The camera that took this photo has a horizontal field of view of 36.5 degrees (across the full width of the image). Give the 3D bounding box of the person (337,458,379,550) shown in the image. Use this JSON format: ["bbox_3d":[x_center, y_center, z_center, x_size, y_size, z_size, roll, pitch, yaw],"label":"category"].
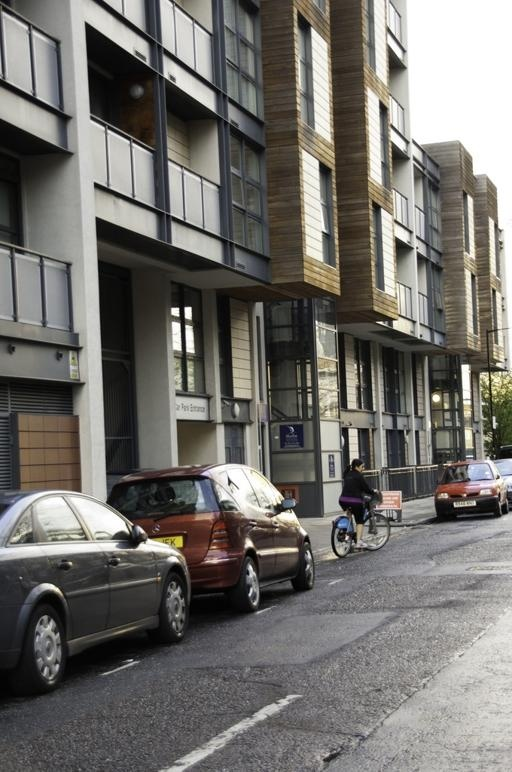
[{"bbox_3d":[2.147,2.490,16.288,0.755,1.905,1.020,-5,-6,6],"label":"person"}]

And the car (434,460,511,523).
[{"bbox_3d":[7.135,3.411,25.737,1.397,1.436,2.776,-5,-12,16],"label":"car"}]

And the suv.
[{"bbox_3d":[-0.317,1.777,10.003,1.430,1.255,2.768,-5,-3,23],"label":"suv"}]
